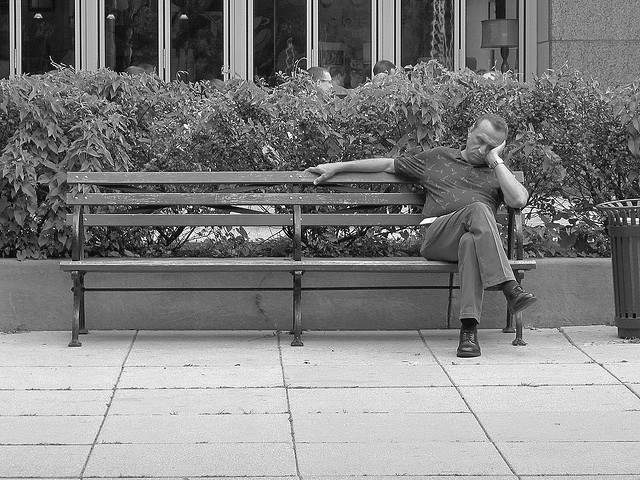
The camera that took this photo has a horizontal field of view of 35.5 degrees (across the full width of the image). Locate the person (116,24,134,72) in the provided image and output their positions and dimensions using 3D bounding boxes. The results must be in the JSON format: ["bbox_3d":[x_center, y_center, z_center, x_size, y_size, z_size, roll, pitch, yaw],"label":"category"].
[{"bbox_3d":[-3.257,-3.167,16.592,0.313,0.764,0.242,-2,12,-11],"label":"person"}]
